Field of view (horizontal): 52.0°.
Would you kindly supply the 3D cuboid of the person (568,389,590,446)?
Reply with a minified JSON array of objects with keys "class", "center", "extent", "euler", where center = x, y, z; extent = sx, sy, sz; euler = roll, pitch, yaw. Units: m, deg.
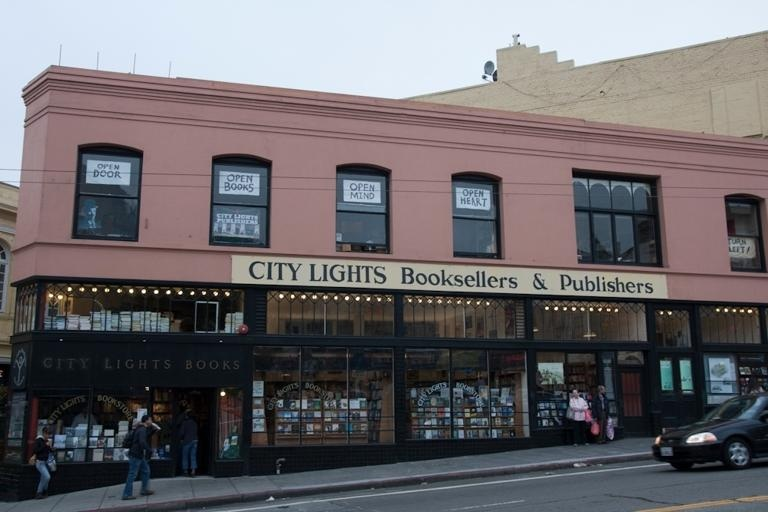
[{"class":"person","center":[6.969,5.793,28.314],"extent":[0.625,1.902,0.660],"euler":[-16,-19,40]}]

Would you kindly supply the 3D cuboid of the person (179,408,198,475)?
[{"class":"person","center":[-6.436,6.154,25.911],"extent":[0.502,2.097,0.622],"euler":[1,-15,-14]}]

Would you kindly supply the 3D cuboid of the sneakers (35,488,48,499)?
[{"class":"sneakers","center":[-10.629,7.381,24.445],"extent":[0.301,0.266,0.243],"euler":[4,-16,-25]}]

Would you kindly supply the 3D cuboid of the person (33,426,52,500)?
[{"class":"person","center":[-10.668,6.451,24.579],"extent":[0.496,2.130,0.710],"euler":[-2,-15,-4]}]

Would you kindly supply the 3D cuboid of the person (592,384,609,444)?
[{"class":"person","center":[7.779,5.689,28.498],"extent":[0.472,2.081,0.782],"euler":[-9,-16,22]}]
